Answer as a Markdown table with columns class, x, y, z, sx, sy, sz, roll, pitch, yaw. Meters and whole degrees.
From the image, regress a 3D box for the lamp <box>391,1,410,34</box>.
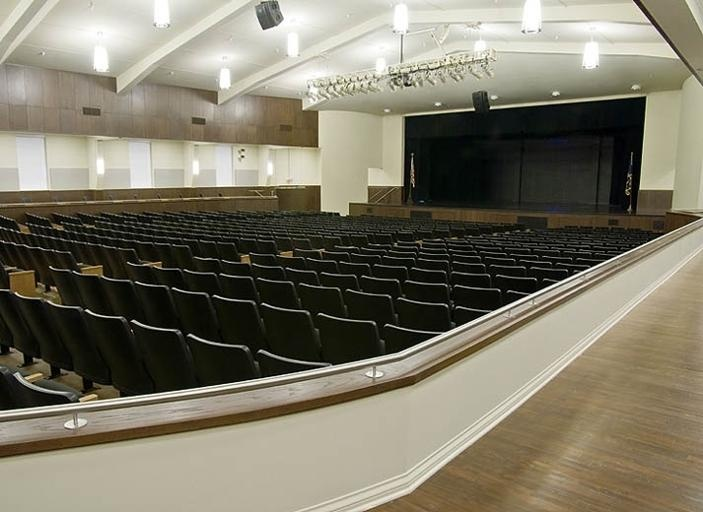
| class | x | y | z | sx | sy | sz | roll | pitch | yaw |
| --- | --- | --- | --- | --- | --- | --- | --- | --- | --- |
| lamp | 1.254 | -6.058 | 11.798 | 0.335 | 0.681 | 0.421 | 3 | 13 | 0 |

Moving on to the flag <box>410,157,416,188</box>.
| class | x | y | z | sx | sy | sz | roll | pitch | yaw |
| --- | --- | --- | --- | --- | --- | --- | --- | --- | --- |
| flag | 3.204 | -4.418 | 24.423 | 0.351 | 1.639 | 0.588 | 6 | 13 | 12 |
